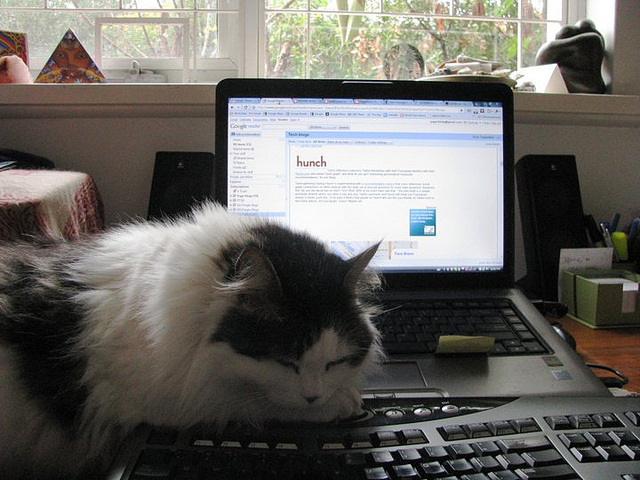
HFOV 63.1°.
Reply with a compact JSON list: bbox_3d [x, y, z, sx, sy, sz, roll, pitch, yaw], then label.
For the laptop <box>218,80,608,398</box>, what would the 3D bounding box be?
[{"bbox_3d":[0.110,0.034,0.991,0.666,0.431,0.533,0,7,-2],"label":"laptop"}]
